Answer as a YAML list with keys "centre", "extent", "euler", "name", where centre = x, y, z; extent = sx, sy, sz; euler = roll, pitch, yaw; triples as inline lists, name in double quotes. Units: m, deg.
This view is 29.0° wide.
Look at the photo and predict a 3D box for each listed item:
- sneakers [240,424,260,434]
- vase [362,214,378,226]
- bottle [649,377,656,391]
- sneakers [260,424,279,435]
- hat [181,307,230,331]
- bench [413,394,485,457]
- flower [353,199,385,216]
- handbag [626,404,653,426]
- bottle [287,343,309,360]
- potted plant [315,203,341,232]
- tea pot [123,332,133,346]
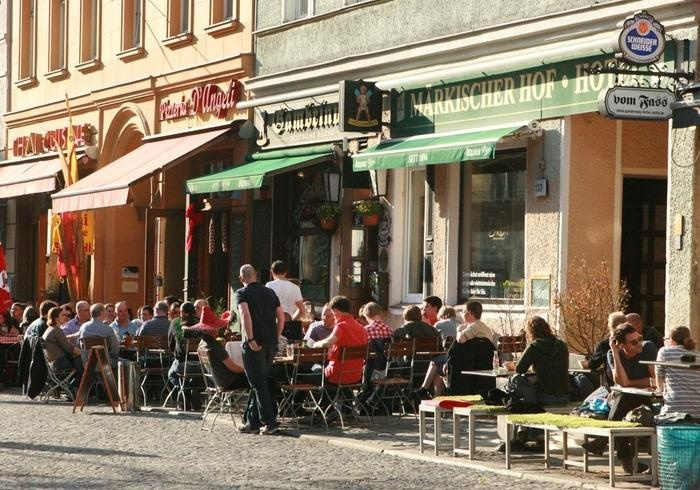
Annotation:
- centre: [-1.554, 2.776, 20.546]
  extent: [0.338, 0.146, 0.117]
  euler: [4, -1, 28]
  name: "sneakers"
- centre: [0.399, -0.487, 26.638]
  extent: [0.218, 0.145, 0.221]
  euler: [1, -4, -2]
  name: "vase"
- centre: [4.092, 1.879, 18.347]
  extent: [0.024, 0.179, 0.163]
  euler: [-2, 3, -25]
  name: "bottle"
- centre: [-1.200, 2.758, 20.396]
  extent: [0.306, 0.132, 0.112]
  euler: [5, -3, -31]
  name: "sneakers"
- centre: [-2.446, 1.282, 22.725]
  extent: [0.450, 0.201, 0.478]
  euler: [-4, -2, -44]
  name: "hat"
- centre: [1.396, 2.593, 19.431]
  extent: [0.665, 0.684, 0.654]
  euler: [3, -4, -19]
  name: "bench"
- centre: [0.331, -0.734, 26.599]
  extent: [0.396, 0.244, 0.329]
  euler: [-3, 2, -10]
  name: "flower"
- centre: [3.842, 2.246, 17.910]
  extent: [0.232, 0.267, 0.297]
  euler: [-20, -34, -2]
  name: "handbag"
- centre: [-0.863, 1.635, 20.870]
  extent: [0.227, 0.141, 0.229]
  euler: [1, 8, 0]
  name: "bottle"
- centre: [-0.415, -0.540, 27.159]
  extent: [0.517, 0.534, 0.464]
  euler: [-1, -6, 24]
  name: "potted plant"
- centre: [-3.926, 1.635, 23.751]
  extent: [0.225, 0.222, 0.229]
  euler: [2, -1, 0]
  name: "tea pot"
